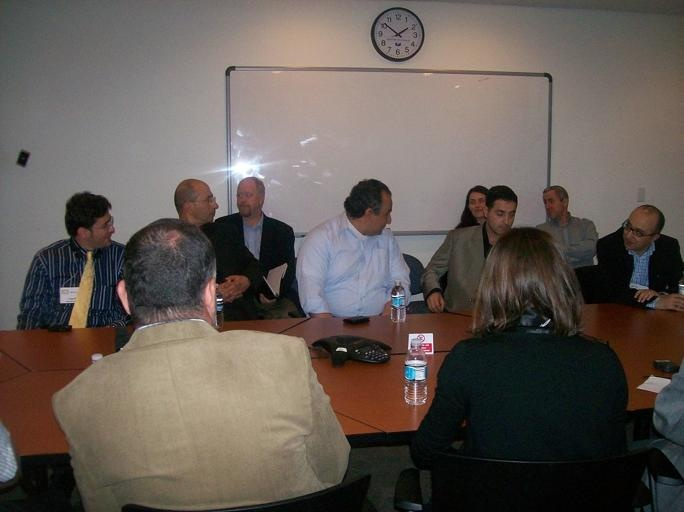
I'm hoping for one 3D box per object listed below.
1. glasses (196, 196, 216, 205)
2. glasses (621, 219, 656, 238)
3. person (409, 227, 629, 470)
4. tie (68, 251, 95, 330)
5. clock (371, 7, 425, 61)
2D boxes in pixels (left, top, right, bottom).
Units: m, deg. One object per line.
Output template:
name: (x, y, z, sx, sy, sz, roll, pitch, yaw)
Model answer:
glasses: (-0.895, -0.362, 3.545, 0.034, 0.048, 0.122, -2, 1, 40)
glasses: (1.949, -0.178, 3.547, 0.185, 0.124, 0.141, -3, 1, 33)
person: (0.520, 0.295, 1.651, 0.640, 0.750, 0.235, -3, 1, 19)
tie: (-1.514, 0.216, 3.188, 0.122, 0.506, 0.035, 12, -29, -14)
clock: (0.474, -1.963, 4.777, 0.403, 0.452, 0.056, -4, 5, -7)
